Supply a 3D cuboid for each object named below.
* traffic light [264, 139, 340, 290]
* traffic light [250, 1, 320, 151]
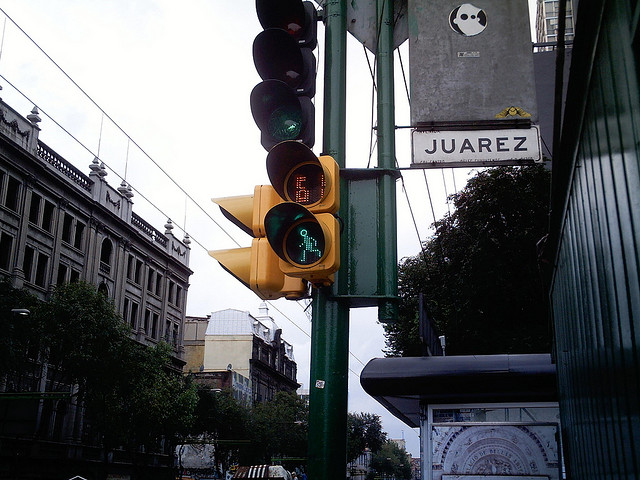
[{"bbox_3d":[-0.162,-0.309,7.348,0.717,1.383,0.621,1,-22,-1],"label":"traffic light"},{"bbox_3d":[-0.357,-1.711,7.749,0.656,1.860,0.596,2,-22,-4],"label":"traffic light"}]
